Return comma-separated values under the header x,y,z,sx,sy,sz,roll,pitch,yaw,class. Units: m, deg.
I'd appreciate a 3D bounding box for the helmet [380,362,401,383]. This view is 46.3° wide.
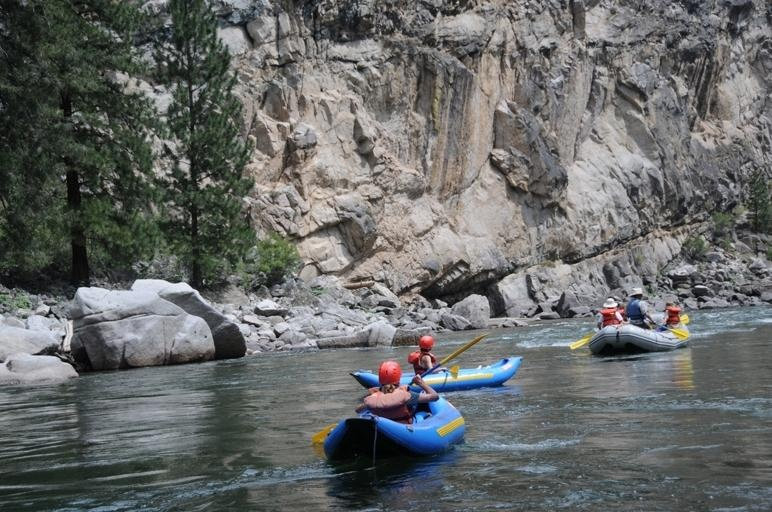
x,y,z,sx,sy,sz,roll,pitch,yaw,class
0.210,3.090,24.457,0.458,0.593,0.596,0,2,9,helmet

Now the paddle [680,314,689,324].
x,y,z,sx,sy,sz,roll,pitch,yaw,class
13.244,2.690,39.202,0.349,0.268,1.550,-5,11,23,paddle

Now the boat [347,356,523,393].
x,y,z,sx,sy,sz,roll,pitch,yaw,class
1.825,3.942,29.305,6.308,1.163,1.959,0,-5,-33,boat

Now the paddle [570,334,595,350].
x,y,z,sx,sy,sz,roll,pitch,yaw,class
8.340,3.524,37.378,0.109,0.305,1.285,2,-34,-43,paddle

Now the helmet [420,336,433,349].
x,y,z,sx,sy,sz,roll,pitch,yaw,class
1.302,2.510,26.679,0.318,0.355,0.413,11,17,24,helmet

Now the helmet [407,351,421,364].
x,y,z,sx,sy,sz,roll,pitch,yaw,class
0.913,2.952,27.129,0.293,0.429,0.414,15,-19,24,helmet
